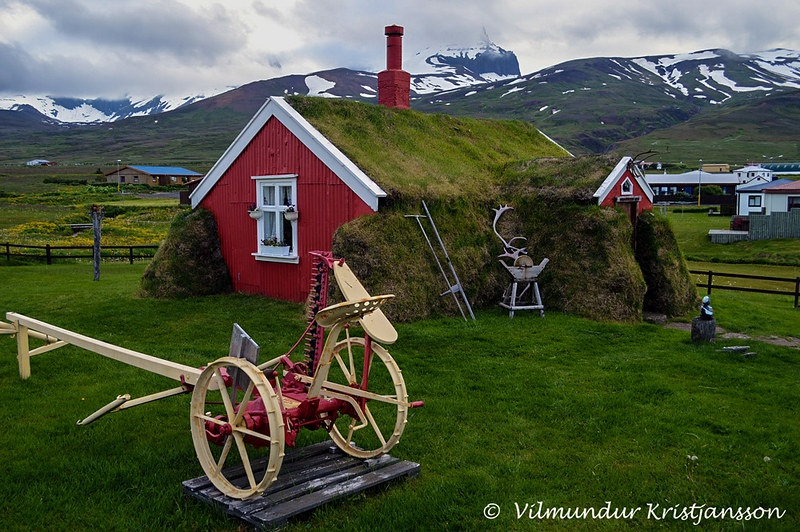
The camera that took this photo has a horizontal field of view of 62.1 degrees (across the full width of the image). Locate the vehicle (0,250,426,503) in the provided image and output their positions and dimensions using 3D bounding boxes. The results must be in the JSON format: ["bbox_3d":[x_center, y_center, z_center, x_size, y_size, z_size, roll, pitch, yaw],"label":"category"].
[{"bbox_3d":[-3.172,1.698,13.016,7.203,4.117,3.694,6,16,20],"label":"vehicle"}]

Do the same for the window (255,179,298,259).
[{"bbox_3d":[-4.214,-1.616,22.849,2.480,3.367,0.173,4,7,37],"label":"window"}]

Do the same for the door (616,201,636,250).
[{"bbox_3d":[7.786,-1.394,23.100,0.241,2.572,1.512,0,6,37],"label":"door"}]

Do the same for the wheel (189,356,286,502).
[{"bbox_3d":[-2.877,2.960,11.788,2.492,2.478,0.465,0,-1,42],"label":"wheel"}]
